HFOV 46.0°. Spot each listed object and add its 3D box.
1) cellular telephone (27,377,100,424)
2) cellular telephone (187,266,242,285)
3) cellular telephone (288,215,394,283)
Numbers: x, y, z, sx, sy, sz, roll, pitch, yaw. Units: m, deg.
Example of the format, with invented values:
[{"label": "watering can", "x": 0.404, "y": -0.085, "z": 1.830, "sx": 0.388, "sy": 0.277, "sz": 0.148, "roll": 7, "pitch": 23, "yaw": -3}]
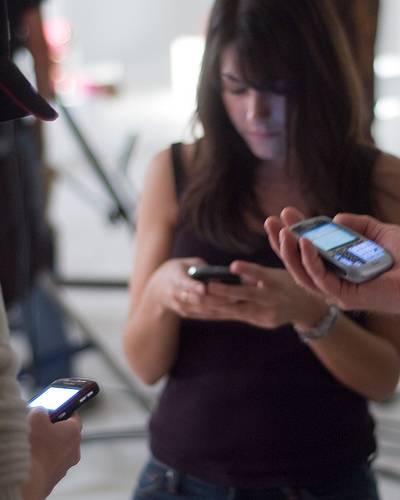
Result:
[{"label": "cellular telephone", "x": -0.168, "y": 0.170, "z": 0.562, "sx": 0.040, "sy": 0.015, "sz": 0.071, "roll": 3, "pitch": 19, "yaw": 31}, {"label": "cellular telephone", "x": 0.022, "y": 0.035, "z": 0.635, "sx": 0.055, "sy": 0.029, "sz": 0.014, "roll": 8, "pitch": 54, "yaw": 9}, {"label": "cellular telephone", "x": 0.164, "y": -0.021, "z": 0.552, "sx": 0.062, "sy": 0.021, "sz": 0.118, "roll": -18, "pitch": 36, "yaw": -23}]
